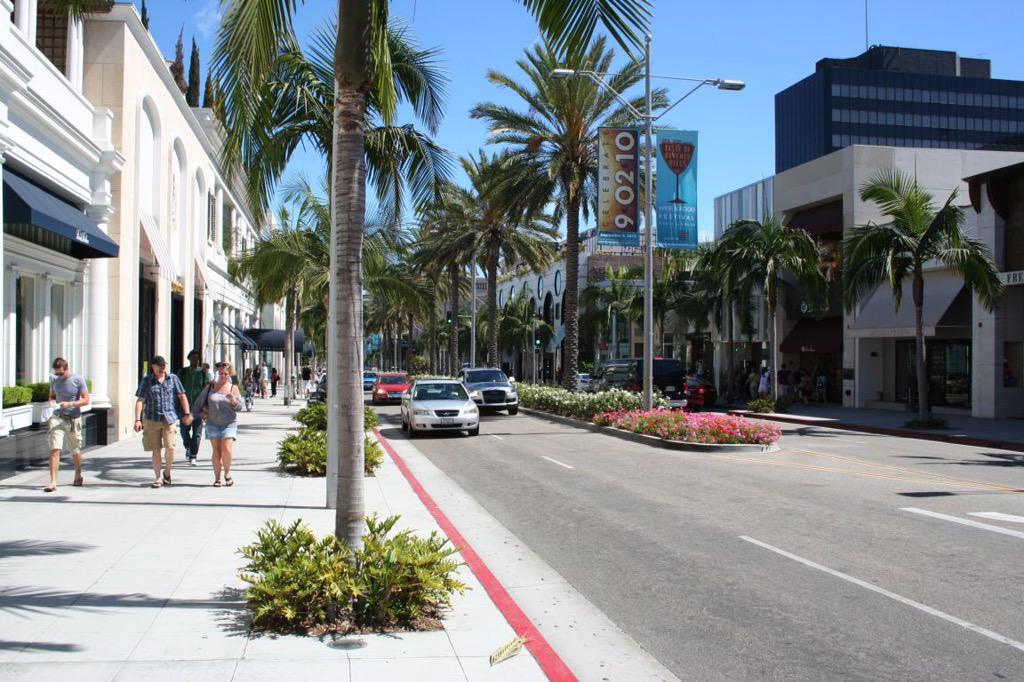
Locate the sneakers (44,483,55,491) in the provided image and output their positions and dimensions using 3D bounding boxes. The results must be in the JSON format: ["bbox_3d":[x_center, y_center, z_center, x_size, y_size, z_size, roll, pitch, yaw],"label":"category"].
[{"bbox_3d":[-8.539,2.709,16.592,0.249,0.123,0.183,-2,-5,20],"label":"sneakers"}]

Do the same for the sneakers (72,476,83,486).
[{"bbox_3d":[-8.331,2.695,17.264,0.094,0.147,0.315,1,-10,-12],"label":"sneakers"}]

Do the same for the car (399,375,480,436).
[{"bbox_3d":[-2.276,2.041,28.428,2.126,1.827,2.651,1,-5,-16],"label":"car"}]

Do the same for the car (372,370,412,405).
[{"bbox_3d":[-5.998,2.275,43.931,1.372,1.343,3.596,0,-5,-9],"label":"car"}]
